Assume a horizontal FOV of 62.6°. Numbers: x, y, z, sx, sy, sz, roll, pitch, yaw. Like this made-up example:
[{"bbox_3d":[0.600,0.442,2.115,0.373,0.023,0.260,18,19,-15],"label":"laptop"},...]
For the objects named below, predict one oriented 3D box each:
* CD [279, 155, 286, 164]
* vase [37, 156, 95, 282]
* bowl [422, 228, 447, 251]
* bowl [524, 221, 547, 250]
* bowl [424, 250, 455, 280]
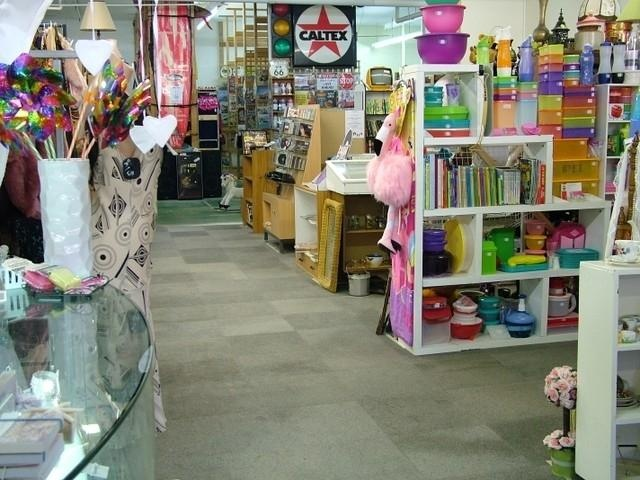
[{"bbox_3d":[-0.560,-1.177,7.612,0.041,0.133,0.133,10,43,25],"label":"CD"},{"bbox_3d":[-0.840,-0.073,1.740,0.156,0.388,0.127,-5,11,-21],"label":"vase"},{"bbox_3d":[0.855,-0.001,3.937,0.159,0.071,0.147,-4,7,1],"label":"bowl"},{"bbox_3d":[1.720,-0.043,4.322,0.215,0.271,0.222,0,4,0],"label":"bowl"},{"bbox_3d":[0.860,0.199,3.932,0.172,0.121,0.227,0,-1,-10],"label":"bowl"}]
